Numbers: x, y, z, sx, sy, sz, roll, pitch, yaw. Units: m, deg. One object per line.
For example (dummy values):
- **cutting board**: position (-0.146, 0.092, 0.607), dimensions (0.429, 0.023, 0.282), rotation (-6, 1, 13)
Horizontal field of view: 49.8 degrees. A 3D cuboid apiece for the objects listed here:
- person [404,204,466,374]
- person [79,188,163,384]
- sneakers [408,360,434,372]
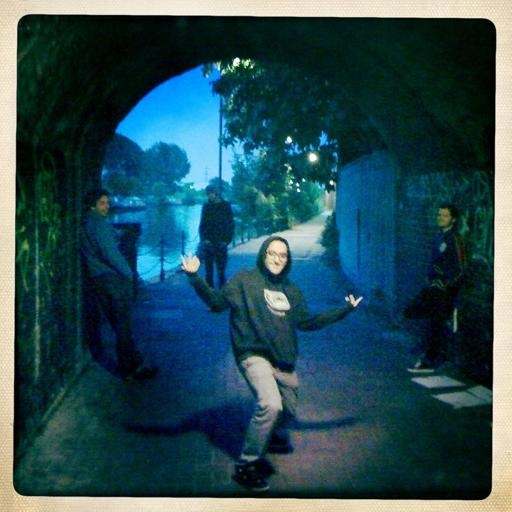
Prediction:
- **person**: position (1.783, 0.336, 5.525), dimensions (0.583, 1.601, 0.354), rotation (-4, 7, 8)
- **person**: position (-1.363, 0.287, 5.242), dimensions (0.596, 1.809, 0.326), rotation (-2, 8, 27)
- **sneakers**: position (1.664, 1.112, 5.535), dimensions (0.238, 0.088, 0.035), rotation (-1, -32, -3)
